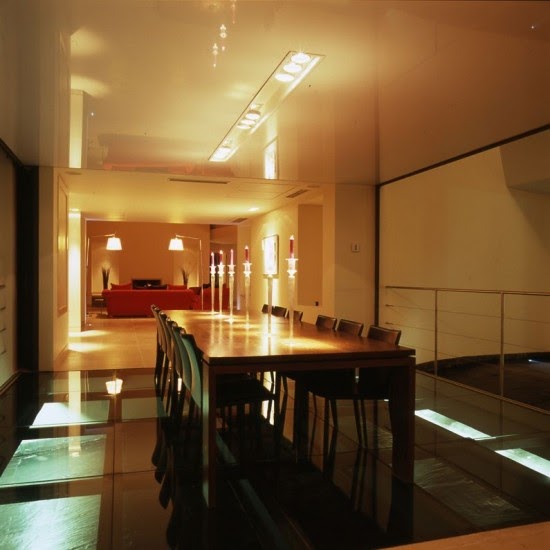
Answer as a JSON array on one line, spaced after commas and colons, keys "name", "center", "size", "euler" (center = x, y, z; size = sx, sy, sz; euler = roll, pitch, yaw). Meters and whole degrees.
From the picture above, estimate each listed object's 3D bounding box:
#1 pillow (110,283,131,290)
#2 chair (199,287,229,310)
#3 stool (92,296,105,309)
[{"name": "pillow", "center": [-3.988, 0.321, 12.924], "size": [0.270, 0.110, 0.314], "euler": [0, 5, 0]}, {"name": "chair", "center": [-1.476, 0.573, 12.047], "size": [0.581, 0.805, 0.679], "euler": [0, 8, -7]}, {"name": "stool", "center": [-5.329, 0.830, 15.048], "size": [0.288, 0.366, 0.302], "euler": [2, 8, 1]}]
